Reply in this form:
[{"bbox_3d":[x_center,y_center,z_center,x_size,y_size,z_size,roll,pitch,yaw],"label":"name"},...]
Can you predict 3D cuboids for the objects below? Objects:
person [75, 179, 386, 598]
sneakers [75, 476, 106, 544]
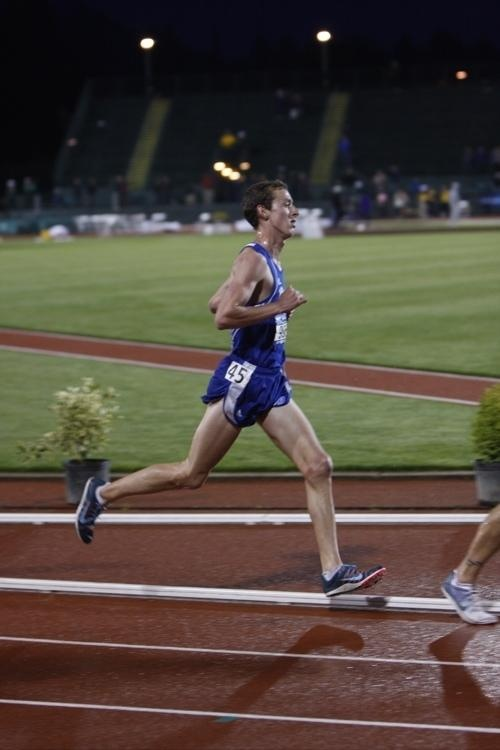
[{"bbox_3d":[-0.079,0.064,3.879,0.740,1.476,1.082,-4,2,-38],"label":"person"},{"bbox_3d":[-0.839,0.681,4.248,0.197,0.325,0.130,4,2,12],"label":"sneakers"}]
